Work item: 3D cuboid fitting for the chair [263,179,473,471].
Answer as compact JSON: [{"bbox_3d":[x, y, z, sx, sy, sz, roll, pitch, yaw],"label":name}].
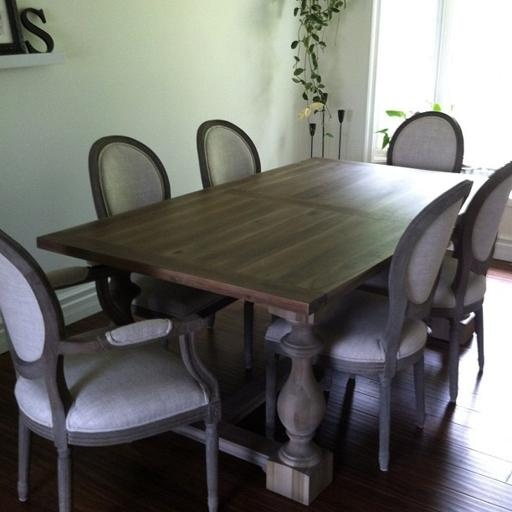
[{"bbox_3d":[0.414,0.229,1.642,0.381,0.936,0.391,11,26,31],"label":"chair"}]
